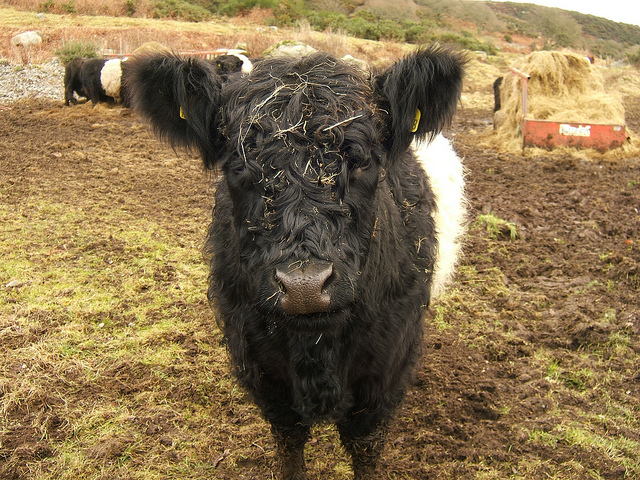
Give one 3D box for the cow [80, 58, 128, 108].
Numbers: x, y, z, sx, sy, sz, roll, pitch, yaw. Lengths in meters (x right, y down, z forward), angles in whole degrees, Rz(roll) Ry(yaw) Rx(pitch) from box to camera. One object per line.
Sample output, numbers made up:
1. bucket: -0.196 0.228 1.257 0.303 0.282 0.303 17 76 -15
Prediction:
1. cow: -5.537 -3.979 15.688 1.621 1.076 0.707 23 28 40
